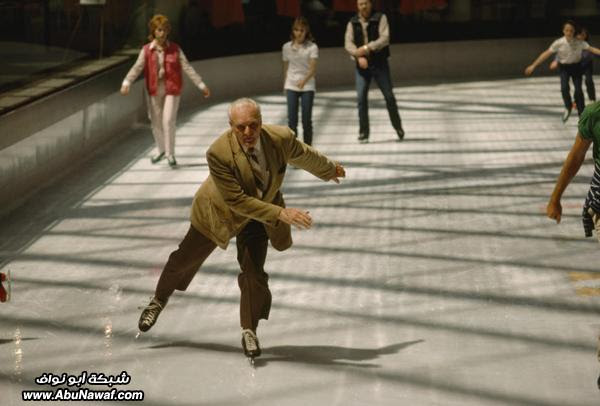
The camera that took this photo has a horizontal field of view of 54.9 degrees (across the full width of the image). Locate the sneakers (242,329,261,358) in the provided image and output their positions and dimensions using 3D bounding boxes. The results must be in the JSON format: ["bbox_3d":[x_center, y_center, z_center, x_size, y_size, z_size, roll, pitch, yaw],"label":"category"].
[{"bbox_3d":[-0.412,1.160,4.819,0.148,0.234,0.094,-3,-5,7],"label":"sneakers"}]

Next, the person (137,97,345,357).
[{"bbox_3d":[-0.489,0.233,4.754,1.598,2.180,0.837,0,24,2],"label":"person"}]

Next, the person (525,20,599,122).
[{"bbox_3d":[5.789,-2.855,12.577,0.968,2.065,1.103,12,27,27],"label":"person"}]

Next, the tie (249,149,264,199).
[{"bbox_3d":[-0.330,-0.233,4.536,0.058,0.384,0.080,26,46,33],"label":"tie"}]

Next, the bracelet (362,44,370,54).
[{"bbox_3d":[1.212,-2.823,10.600,0.149,0.147,0.147,-2,41,4],"label":"bracelet"}]

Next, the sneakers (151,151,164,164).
[{"bbox_3d":[-2.531,-0.782,10.354,0.285,0.112,0.155,-30,31,21],"label":"sneakers"}]

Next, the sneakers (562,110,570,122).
[{"bbox_3d":[5.808,-1.941,12.538,0.132,0.166,0.425,7,44,33],"label":"sneakers"}]
